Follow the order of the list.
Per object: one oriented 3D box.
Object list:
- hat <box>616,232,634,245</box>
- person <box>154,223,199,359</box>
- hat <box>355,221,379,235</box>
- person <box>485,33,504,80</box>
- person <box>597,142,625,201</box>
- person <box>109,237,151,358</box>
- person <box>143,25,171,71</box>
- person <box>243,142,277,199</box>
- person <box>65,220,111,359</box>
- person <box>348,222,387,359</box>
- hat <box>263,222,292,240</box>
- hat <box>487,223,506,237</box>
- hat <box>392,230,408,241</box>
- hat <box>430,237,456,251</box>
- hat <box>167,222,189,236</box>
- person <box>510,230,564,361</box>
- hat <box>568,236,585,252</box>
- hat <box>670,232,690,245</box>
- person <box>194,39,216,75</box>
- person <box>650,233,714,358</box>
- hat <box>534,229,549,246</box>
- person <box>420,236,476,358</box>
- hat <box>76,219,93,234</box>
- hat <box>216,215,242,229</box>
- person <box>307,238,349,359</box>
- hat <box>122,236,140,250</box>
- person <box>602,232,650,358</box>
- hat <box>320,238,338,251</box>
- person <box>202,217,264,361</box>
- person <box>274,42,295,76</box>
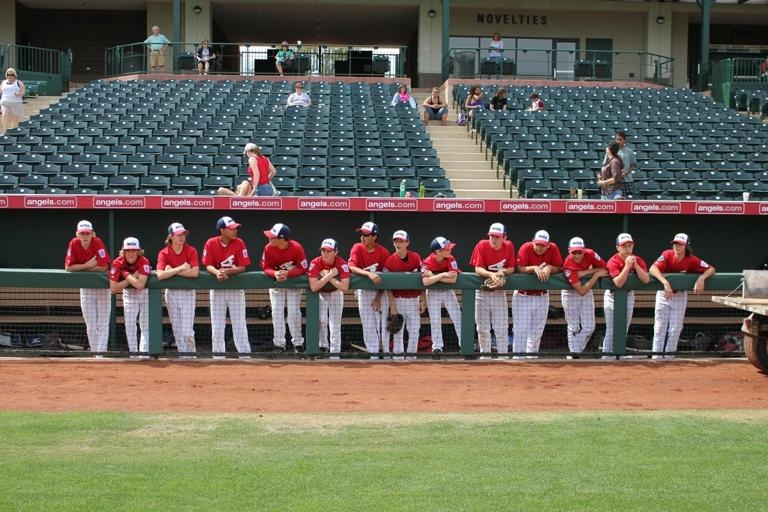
[{"bbox_3d":[5.160,-0.318,28.791,0.301,0.178,0.376,1,-4,-5],"label":"hat"},{"bbox_3d":[-4.359,0.752,28.463,0.912,2.779,0.624,0,5,-3],"label":"person"},{"bbox_3d":[-0.352,-0.549,28.730,0.434,0.196,0.279,7,4,-11],"label":"hat"},{"bbox_3d":[3.652,-6.499,43.862,0.512,1.465,1.243,1,5,5],"label":"person"},{"bbox_3d":[5.416,-1.972,31.904,0.572,1.326,0.865,1,5,9],"label":"person"},{"bbox_3d":[-5.337,0.867,28.348,0.848,2.361,0.335,0,5,-2],"label":"person"},{"bbox_3d":[-7.253,-6.548,42.960,0.728,1.396,1.965,-1,5,-9],"label":"person"},{"bbox_3d":[-2.875,-1.980,31.452,0.660,1.202,0.960,0,5,-5],"label":"person"},{"bbox_3d":[-6.275,0.723,28.588,0.915,2.818,0.695,0,5,1],"label":"person"},{"bbox_3d":[-0.324,0.775,28.706,0.866,2.864,0.780,0,5,1],"label":"person"},{"bbox_3d":[-2.254,-0.478,28.452,0.567,0.239,0.330,2,9,1],"label":"hat"},{"bbox_3d":[2.425,-0.515,28.729,0.317,0.259,0.433,0,5,1],"label":"hat"},{"bbox_3d":[0.349,-0.387,28.775,0.274,0.194,0.402,0,5,-7],"label":"hat"},{"bbox_3d":[1.251,-0.215,28.628,0.462,0.193,0.283,-2,15,3],"label":"hat"},{"bbox_3d":[-4.447,-0.530,28.509,0.416,0.191,0.272,-13,-9,37],"label":"hat"},{"bbox_3d":[3.256,0.855,28.691,0.999,2.660,0.714,0,5,2],"label":"person"},{"bbox_3d":[4.130,-0.208,28.663,0.294,0.198,0.403,1,10,6],"label":"hat"},{"bbox_3d":[6.468,-0.313,28.907,0.385,0.176,0.252,4,0,-34],"label":"hat"},{"bbox_3d":[-5.719,-6.297,43.093,0.570,1.056,1.485,-1,5,-7],"label":"person"},{"bbox_3d":[6.310,0.833,28.875,1.191,2.494,0.520,1,5,7],"label":"person"},{"bbox_3d":[3.355,-0.336,28.654,0.319,0.280,0.349,1,5,5],"label":"hat"},{"bbox_3d":[1.235,0.884,28.683,0.910,2.450,0.643,-2,6,-23],"label":"person"},{"bbox_3d":[-6.384,-0.592,28.686,0.323,0.203,0.447,0,-3,-15],"label":"hat"},{"bbox_3d":[-3.315,-0.671,28.600,0.476,0.202,0.295,-2,7,-3],"label":"hat"},{"bbox_3d":[-1.130,0.943,28.513,0.755,2.494,0.577,-5,7,-41],"label":"person"},{"bbox_3d":[-5.333,-0.231,28.335,0.314,0.190,0.395,1,-1,-14],"label":"hat"},{"bbox_3d":[5.181,0.900,28.818,0.924,2.654,0.962,1,5,8],"label":"person"},{"bbox_3d":[-1.158,-0.183,28.384,0.300,0.229,0.310,-1,5,-8],"label":"hat"},{"bbox_3d":[-3.344,0.695,28.583,0.981,2.929,0.725,-1,5,-7],"label":"person"},{"bbox_3d":[-3.203,-6.275,43.264,0.584,1.055,0.892,0,5,-5],"label":"person"}]
